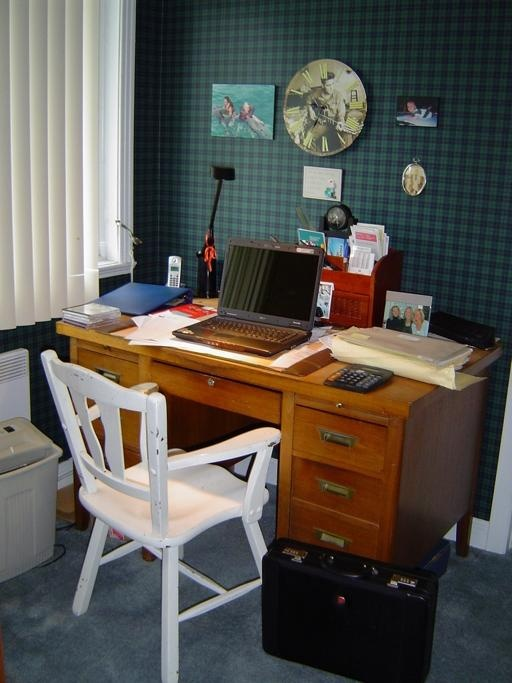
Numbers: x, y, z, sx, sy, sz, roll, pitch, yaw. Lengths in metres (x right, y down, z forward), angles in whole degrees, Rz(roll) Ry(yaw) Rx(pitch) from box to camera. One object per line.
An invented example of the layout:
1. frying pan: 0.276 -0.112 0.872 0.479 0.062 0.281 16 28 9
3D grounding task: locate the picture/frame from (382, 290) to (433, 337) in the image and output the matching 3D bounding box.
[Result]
1. picture/frame: 0.457 -0.089 1.669 0.128 0.139 0.071 16 24 31

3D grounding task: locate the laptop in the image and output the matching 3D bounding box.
1. laptop: 0.003 -0.137 1.713 0.475 0.371 0.287 12 19 26

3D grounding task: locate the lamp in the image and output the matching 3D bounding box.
1. lamp: -0.162 -0.388 2.195 0.128 0.631 0.136 4 20 2

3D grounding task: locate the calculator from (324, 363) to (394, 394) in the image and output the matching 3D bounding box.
1. calculator: 0.256 0.089 1.348 0.121 0.026 0.192 12 19 29
